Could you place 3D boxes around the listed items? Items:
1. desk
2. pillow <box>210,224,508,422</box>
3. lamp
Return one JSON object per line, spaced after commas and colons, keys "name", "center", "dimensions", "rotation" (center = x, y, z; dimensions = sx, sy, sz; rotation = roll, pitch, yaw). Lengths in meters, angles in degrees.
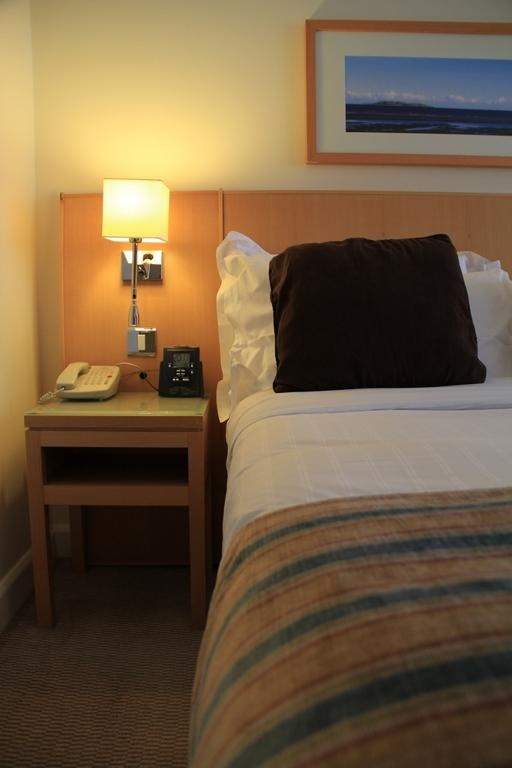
{"name": "desk", "center": [-0.395, 0.368, 1.787], "dimensions": [0.506, 0.626, 0.492], "rotation": [1, 6, 6]}
{"name": "pillow", "center": [0.300, -0.190, 1.717], "dimensions": [0.675, 0.652, 0.213], "rotation": [-6, -9, 13]}
{"name": "lamp", "center": [-0.363, -0.369, 1.884], "dimensions": [0.230, 0.561, 0.253], "rotation": [-8, 6, -12]}
